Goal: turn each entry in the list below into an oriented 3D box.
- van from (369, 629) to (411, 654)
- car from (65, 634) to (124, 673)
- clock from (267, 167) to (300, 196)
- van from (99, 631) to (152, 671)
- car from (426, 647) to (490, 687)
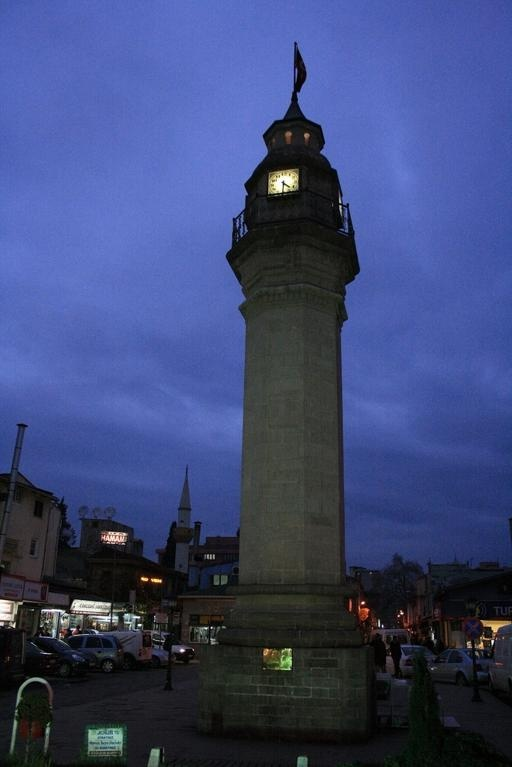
[{"bbox_3d":[7.209,13.652,34.435,1.238,1.176,2.086,-1,-13,0],"label":"van"},{"bbox_3d":[-7.732,12.520,30.613,2.671,1.373,1.600,9,-24,1],"label":"car"},{"bbox_3d":[0.693,-4.983,15.986,0.860,0.862,0.092,2,-29,16],"label":"clock"},{"bbox_3d":[-6.749,13.861,33.720,2.985,1.746,1.714,8,-36,1],"label":"van"},{"bbox_3d":[8.185,11.478,26.166,1.005,1.420,3.647,5,-19,-11],"label":"car"}]
